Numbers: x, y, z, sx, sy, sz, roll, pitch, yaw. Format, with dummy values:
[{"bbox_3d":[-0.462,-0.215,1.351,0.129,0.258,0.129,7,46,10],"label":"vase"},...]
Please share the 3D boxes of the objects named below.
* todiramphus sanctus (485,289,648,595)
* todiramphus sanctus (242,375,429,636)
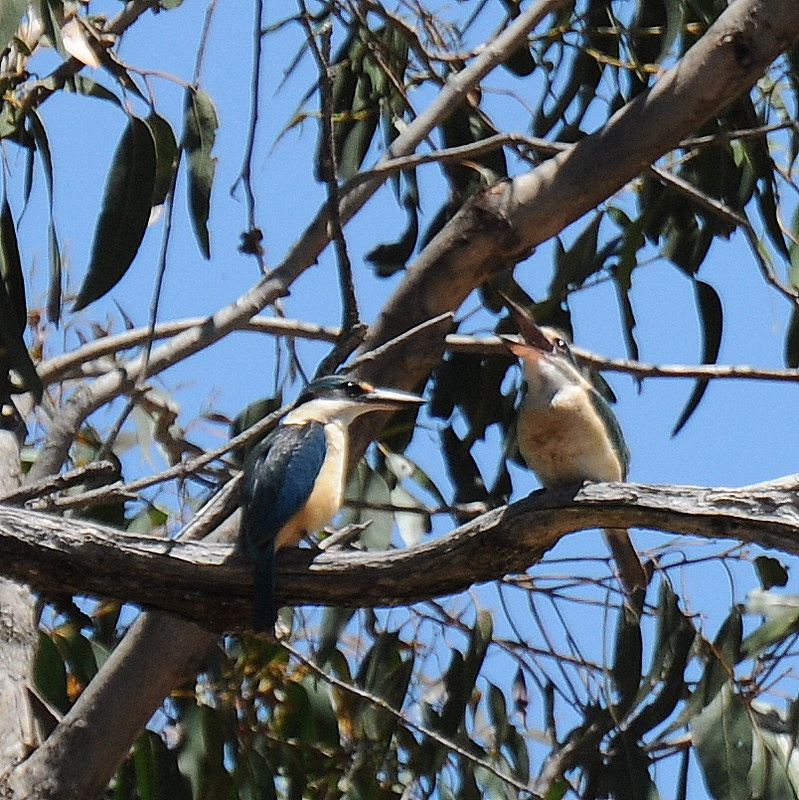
[{"bbox_3d":[0.623,0.114,7.662,0.313,0.534,1.038,-11,-20,22],"label":"todiramphus sanctus"},{"bbox_3d":[-0.230,0.321,7.313,0.527,0.828,0.314,-5,-31,2],"label":"todiramphus sanctus"}]
